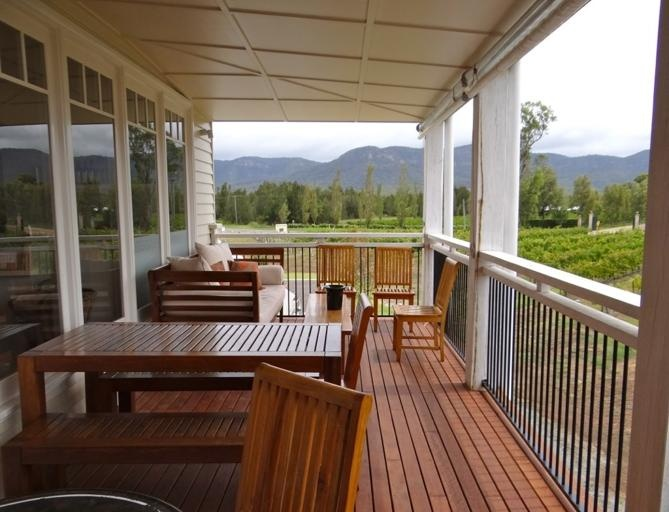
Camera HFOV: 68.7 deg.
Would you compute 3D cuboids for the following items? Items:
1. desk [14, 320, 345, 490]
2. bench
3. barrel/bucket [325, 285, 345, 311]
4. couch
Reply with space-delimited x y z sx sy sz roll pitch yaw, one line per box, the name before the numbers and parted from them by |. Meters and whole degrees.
desk | -1.171 0.566 4.241 2.756 1.341 1.267 0 4 0
bench | -1.292 1.217 3.321 1.640 0.798 0.754 0 4 -1
barrel/bucket | 0.002 0.456 5.577 0.226 0.271 0.226 1 6 0
couch | -1.212 0.329 5.789 1.141 1.096 2.113 2 6 3
